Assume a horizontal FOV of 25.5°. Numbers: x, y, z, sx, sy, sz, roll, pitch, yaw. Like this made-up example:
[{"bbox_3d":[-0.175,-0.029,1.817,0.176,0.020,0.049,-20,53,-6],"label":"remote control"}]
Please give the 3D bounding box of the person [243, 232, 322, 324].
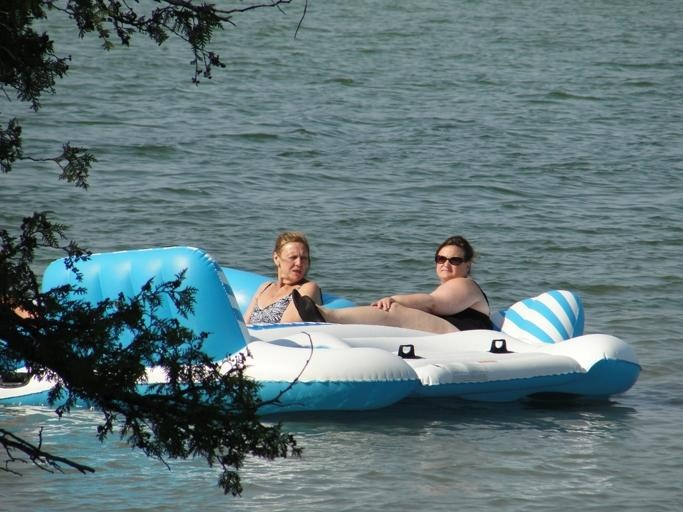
[{"bbox_3d":[-0.884,0.289,19.696,0.810,1.181,0.560,-1,2,13],"label":"person"}]
